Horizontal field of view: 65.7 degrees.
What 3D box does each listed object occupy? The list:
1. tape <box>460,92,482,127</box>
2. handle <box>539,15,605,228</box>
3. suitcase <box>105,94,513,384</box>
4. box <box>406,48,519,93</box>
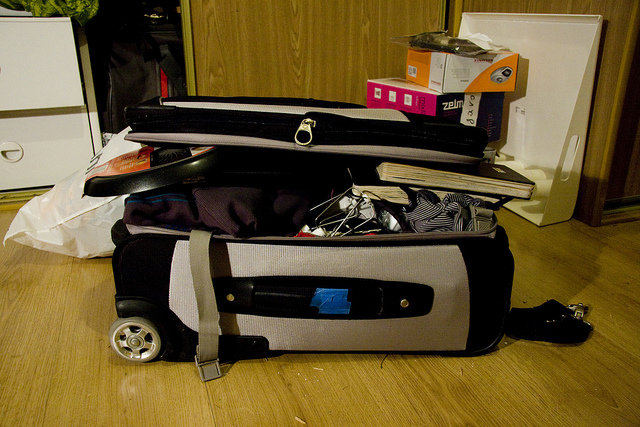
[{"bbox_3d":[0.594,-0.412,1.946,0.076,0.153,0.014,4,32,15],"label":"tape"},{"bbox_3d":[0.928,-0.303,1.780,0.096,0.741,0.181,15,29,27],"label":"handle"},{"bbox_3d":[-0.032,-0.036,1.572,1.159,0.763,0.817,-1,32,9],"label":"suitcase"},{"bbox_3d":[0.564,-0.595,2.030,0.352,0.162,0.347,-7,22,-21],"label":"box"}]
